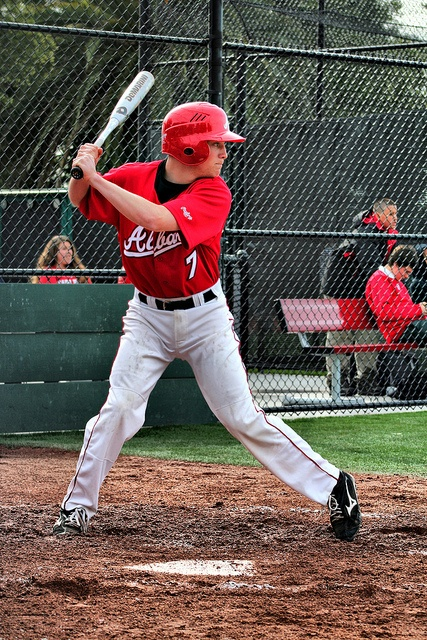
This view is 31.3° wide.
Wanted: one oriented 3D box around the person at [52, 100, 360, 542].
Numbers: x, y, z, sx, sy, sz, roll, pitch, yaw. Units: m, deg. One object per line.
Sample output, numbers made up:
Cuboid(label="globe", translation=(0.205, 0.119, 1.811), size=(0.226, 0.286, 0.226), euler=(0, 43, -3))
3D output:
Cuboid(label="person", translation=(-0.027, 0.004, 2.631), size=(0.990, 1.487, 0.529), euler=(4, 12, -13))

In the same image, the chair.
Cuboid(label="chair", translation=(1.020, 0.135, 7.057), size=(1.714, 1.032, 0.935), euler=(2, -5, -38))

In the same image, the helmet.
Cuboid(label="helmet", translation=(-0.025, -0.645, 2.627), size=(0.276, 0.182, 0.206), euler=(1, 5, 10))

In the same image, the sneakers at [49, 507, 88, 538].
Cuboid(label="sneakers", translation=(-0.485, 0.691, 2.561), size=(0.126, 0.074, 0.068), euler=(4, -9, -8))

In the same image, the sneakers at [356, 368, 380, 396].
Cuboid(label="sneakers", translation=(1.480, 0.615, 7.315), size=(0.278, 0.241, 0.088), euler=(11, -27, -3))

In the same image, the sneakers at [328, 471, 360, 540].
Cuboid(label="sneakers", translation=(0.454, 0.640, 2.686), size=(0.092, 0.244, 0.110), euler=(-4, -3, 37))
